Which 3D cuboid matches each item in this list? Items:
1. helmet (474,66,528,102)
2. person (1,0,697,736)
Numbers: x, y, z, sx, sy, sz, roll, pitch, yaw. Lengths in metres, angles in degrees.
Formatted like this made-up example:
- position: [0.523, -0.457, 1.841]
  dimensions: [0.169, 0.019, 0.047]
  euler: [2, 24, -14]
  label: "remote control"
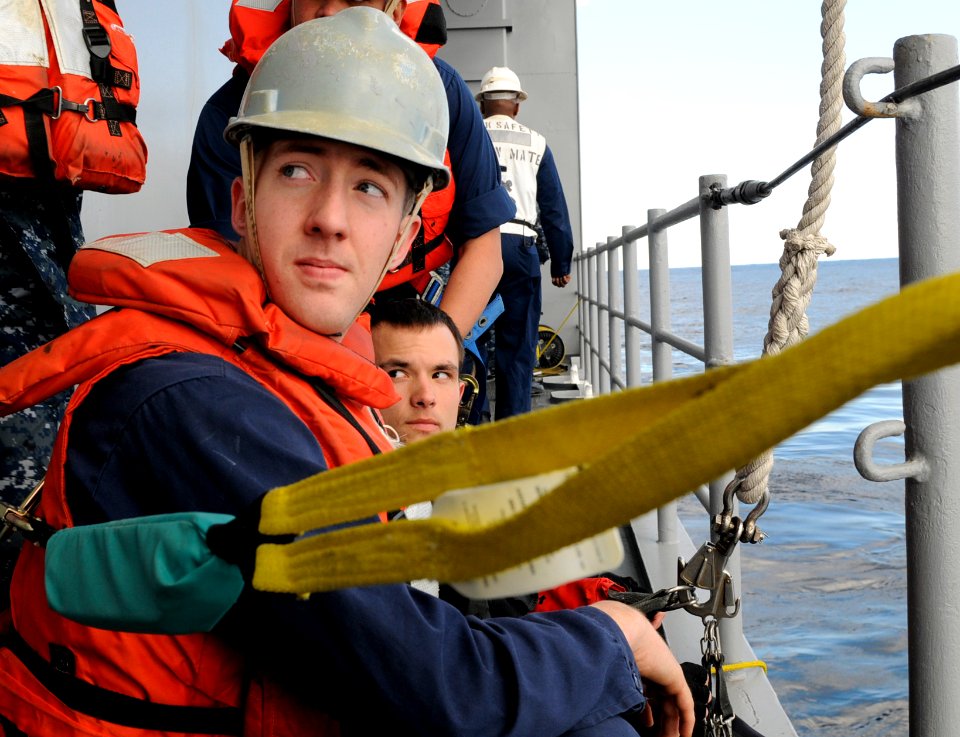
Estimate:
- position: [0.144, -1.693, 8.356]
  dimensions: [0.388, 0.257, 0.495]
  euler: [1, 11, 1]
  label: "helmet"
- position: [-0.293, -0.002, 2.601]
  dimensions: [1.172, 1.384, 0.515]
  euler: [1, 2, -15]
  label: "person"
